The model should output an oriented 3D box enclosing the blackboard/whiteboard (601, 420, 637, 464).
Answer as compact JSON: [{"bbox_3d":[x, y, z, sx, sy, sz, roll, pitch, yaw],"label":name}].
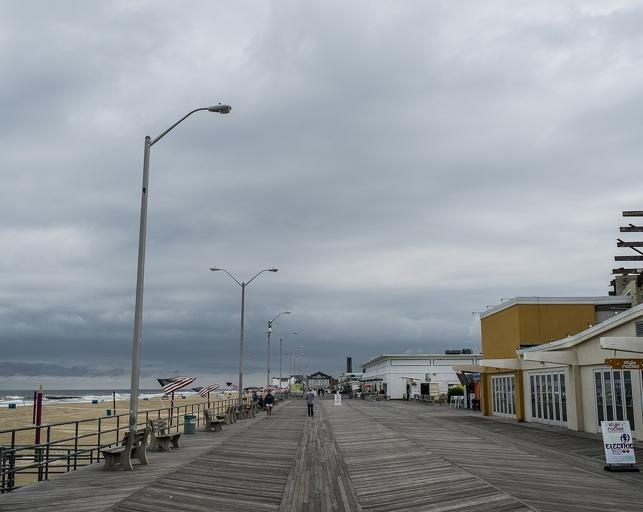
[{"bbox_3d":[8.525,5.280,17.550,0.826,1.126,0.390,-4,-12,7],"label":"blackboard/whiteboard"}]

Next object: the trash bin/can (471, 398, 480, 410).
[{"bbox_3d":[13.408,12.790,53.369,0.824,0.898,0.823,-3,-11,37],"label":"trash bin/can"}]
